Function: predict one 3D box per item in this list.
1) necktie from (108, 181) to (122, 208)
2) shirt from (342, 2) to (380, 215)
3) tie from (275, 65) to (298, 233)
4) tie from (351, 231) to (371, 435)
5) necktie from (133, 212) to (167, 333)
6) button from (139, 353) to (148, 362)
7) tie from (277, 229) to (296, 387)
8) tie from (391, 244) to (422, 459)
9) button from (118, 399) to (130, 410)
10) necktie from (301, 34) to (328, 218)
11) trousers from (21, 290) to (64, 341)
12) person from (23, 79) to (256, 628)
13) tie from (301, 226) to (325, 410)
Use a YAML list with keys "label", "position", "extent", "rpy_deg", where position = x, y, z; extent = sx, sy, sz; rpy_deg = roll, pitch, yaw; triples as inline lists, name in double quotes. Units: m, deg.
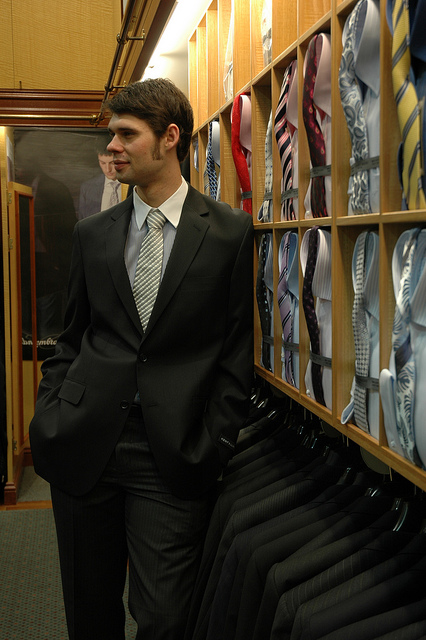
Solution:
- label: "necktie"
  position: [-0.768, -0.991, 3.720]
  extent: [0.089, 0.199, 0.157]
  rpy_deg: [-1, 7, -11]
- label: "shirt"
  position: [0.237, -0.332, 0.784]
  extent: [0.053, 0.309, 0.186]
  rpy_deg: [1, 6, 5]
- label: "tie"
  position: [0.181, -0.441, 1.218]
  extent: [0.045, 0.363, 0.168]
  rpy_deg: [0, 6, -6]
- label: "tie"
  position: [0.258, 0.025, 0.829]
  extent: [0.029, 0.355, 0.064]
  rpy_deg: [1, 6, 1]
- label: "necktie"
  position: [-0.165, -0.140, 1.278]
  extent: [0.051, 0.394, 0.042]
  rpy_deg: [3, -21, 6]
- label: "button"
  position: [-0.180, 0.095, 1.220]
  extent: [0.015, 0.021, 0.006]
  rpy_deg: [5, 2, -9]
- label: "tie"
  position: [0.193, -0.026, 1.274]
  extent: [0.036, 0.416, 0.115]
  rpy_deg: [0, 6, -4]
- label: "tie"
  position: [0.261, 0.044, 0.664]
  extent: [0.028, 0.294, 0.132]
  rpy_deg: [2, 6, 18]
- label: "button"
  position: [-0.230, 0.216, 1.224]
  extent: [0.031, 0.024, 0.005]
  rpy_deg: [2, 6, 10]
- label: "necktie"
  position: [0.218, -0.399, 1.008]
  extent: [0.070, 0.401, 0.050]
  rpy_deg: [2, 9, 32]
- label: "trousers"
  position: [-1.316, -0.054, 3.651]
  extent: [0.255, 0.587, 0.273]
  rpy_deg: [-1, -5, 1]
- label: "person"
  position: [-0.204, 0.123, 1.327]
  extent: [0.603, 1.529, 0.315]
  rpy_deg: [3, 6, 17]
- label: "tie"
  position: [0.222, -0.008, 1.051]
  extent: [0.039, 0.392, 0.101]
  rpy_deg: [0, 6, -8]
